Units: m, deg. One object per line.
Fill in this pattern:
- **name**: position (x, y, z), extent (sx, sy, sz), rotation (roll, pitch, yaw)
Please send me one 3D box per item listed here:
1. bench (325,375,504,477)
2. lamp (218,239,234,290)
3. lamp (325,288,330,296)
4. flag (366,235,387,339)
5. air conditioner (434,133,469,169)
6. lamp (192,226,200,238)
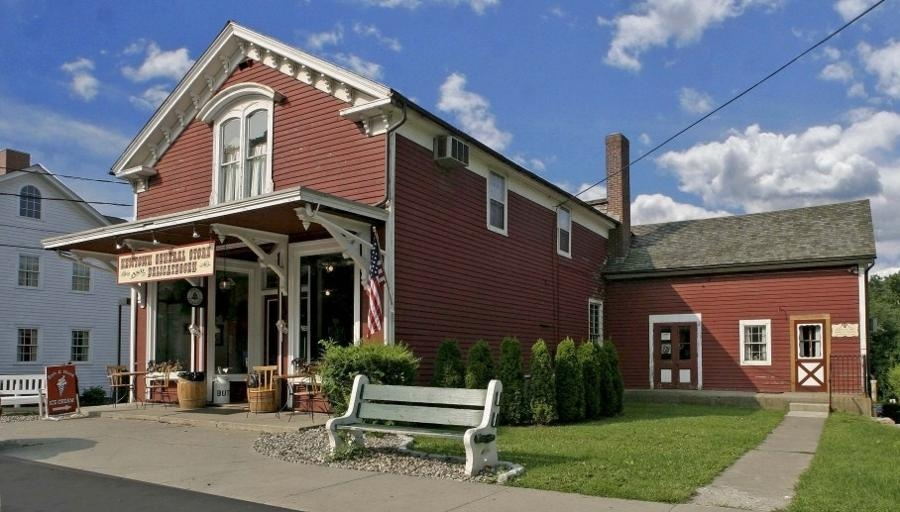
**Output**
- **bench**: position (-0.610, 3.737, 17.827), extent (3.750, 2.024, 2.383), rotation (2, 5, 13)
- **lamp**: position (-6.810, 0.310, 22.846), extent (0.393, 1.553, 1.098), rotation (-1, 5, -15)
- **lamp**: position (-3.568, 1.047, 21.881), extent (0.182, 0.184, 0.041), rotation (2, 6, 14)
- **flag**: position (-2.053, 0.735, 20.887), extent (0.488, 2.997, 1.002), rotation (0, 5, -3)
- **air conditioner**: position (0.015, -3.182, 23.130), extent (0.837, 0.908, 1.539), rotation (-3, -11, 30)
- **lamp**: position (-7.149, -0.715, 21.119), extent (0.132, 0.301, 0.305), rotation (-4, 34, -19)
